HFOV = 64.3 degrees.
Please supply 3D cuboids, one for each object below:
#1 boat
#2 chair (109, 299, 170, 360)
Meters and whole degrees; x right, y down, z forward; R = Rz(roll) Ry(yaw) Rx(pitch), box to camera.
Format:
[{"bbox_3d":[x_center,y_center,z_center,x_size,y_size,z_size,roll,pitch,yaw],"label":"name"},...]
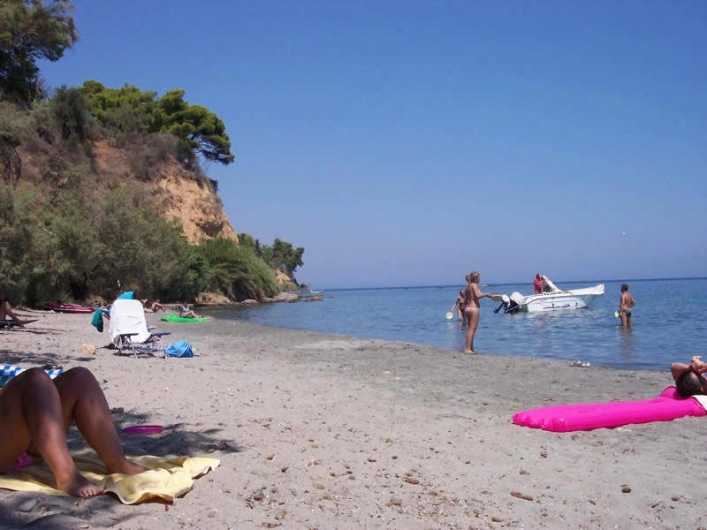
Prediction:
[{"bbox_3d":[13.694,2.449,38.963,8.296,2.883,2.108,-8,15,-21],"label":"boat"},{"bbox_3d":[-5.288,1.509,13.492,1.212,0.979,1.161,4,0,-3],"label":"chair"}]
